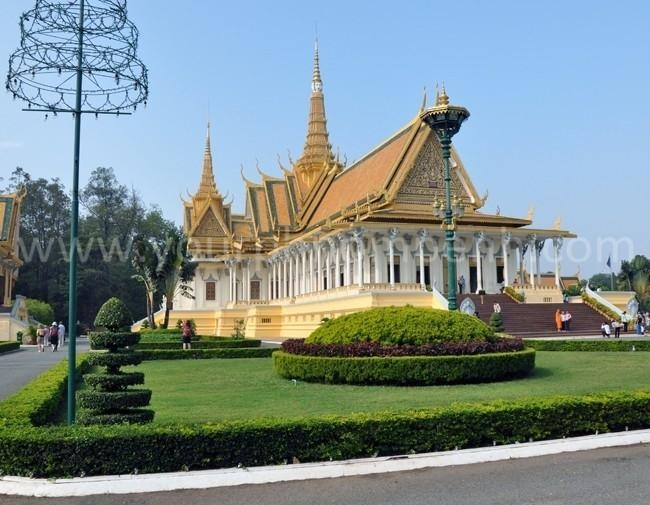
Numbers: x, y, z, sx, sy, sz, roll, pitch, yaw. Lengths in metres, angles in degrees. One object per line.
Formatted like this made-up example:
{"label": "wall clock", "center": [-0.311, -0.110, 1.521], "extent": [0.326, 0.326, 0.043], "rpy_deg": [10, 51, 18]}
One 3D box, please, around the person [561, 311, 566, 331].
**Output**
{"label": "person", "center": [8.969, 2.574, 30.556], "extent": [0.232, 0.585, 0.761], "rpy_deg": [-1, -1, 17]}
